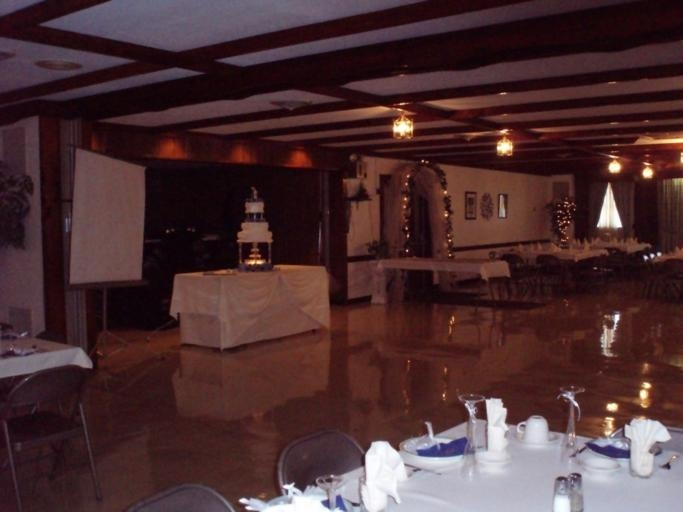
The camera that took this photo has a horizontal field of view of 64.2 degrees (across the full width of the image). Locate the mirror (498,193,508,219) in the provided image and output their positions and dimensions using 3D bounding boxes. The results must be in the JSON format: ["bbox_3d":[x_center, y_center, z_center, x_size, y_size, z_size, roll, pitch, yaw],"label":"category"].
[{"bbox_3d":[4.795,-1.508,16.220,0.062,0.890,0.754,0,2,35],"label":"mirror"}]

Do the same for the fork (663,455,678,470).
[{"bbox_3d":[1.545,0.953,2.562,0.040,0.015,0.142,-3,12,37],"label":"fork"}]

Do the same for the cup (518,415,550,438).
[{"bbox_3d":[0.996,0.900,2.824,0.170,0.131,0.133,-3,1,12],"label":"cup"}]

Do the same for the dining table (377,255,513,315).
[{"bbox_3d":[1.879,0.530,11.302,2.710,0.957,0.716,-1,-1,25],"label":"dining table"}]

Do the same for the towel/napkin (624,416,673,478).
[{"bbox_3d":[1.381,0.848,2.541,0.234,0.255,0.224,1,0,-42],"label":"towel/napkin"}]

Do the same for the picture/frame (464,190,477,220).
[{"bbox_3d":[3.490,-1.383,14.778,0.037,0.876,0.766,0,4,32],"label":"picture/frame"}]

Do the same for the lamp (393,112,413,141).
[{"bbox_3d":[0.755,-1.612,6.650,0.216,0.349,0.402,-1,-1,12],"label":"lamp"}]
